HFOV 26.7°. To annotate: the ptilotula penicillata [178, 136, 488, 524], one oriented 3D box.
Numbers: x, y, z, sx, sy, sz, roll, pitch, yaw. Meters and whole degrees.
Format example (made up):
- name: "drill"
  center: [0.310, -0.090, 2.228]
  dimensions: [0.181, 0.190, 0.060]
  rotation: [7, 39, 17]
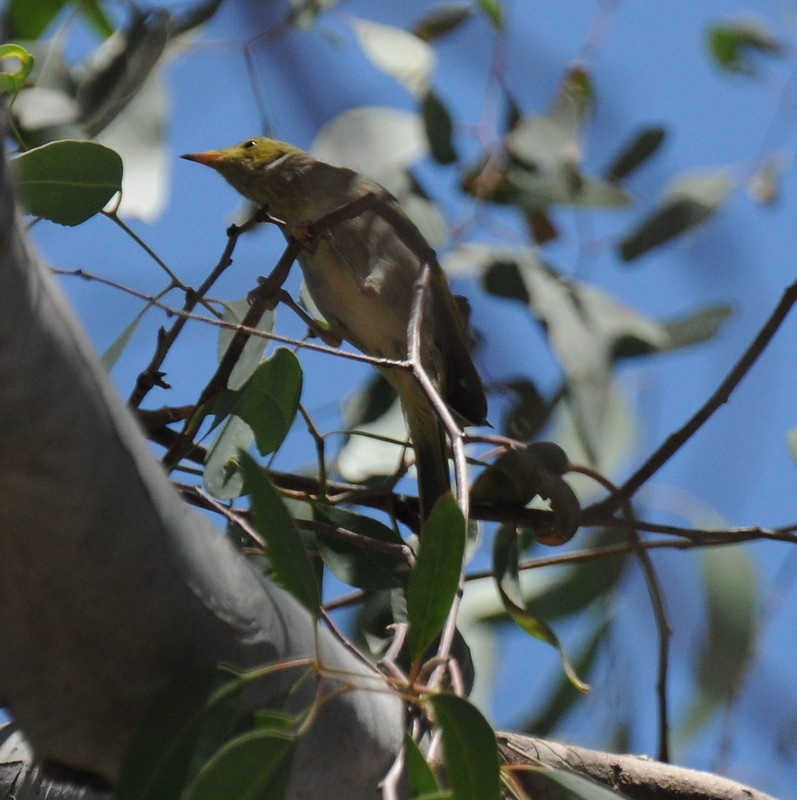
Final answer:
- name: "ptilotula penicillata"
  center: [-0.037, -0.057, 1.582]
  dimensions: [0.412, 0.151, 0.106]
  rotation: [47, -33, -17]
